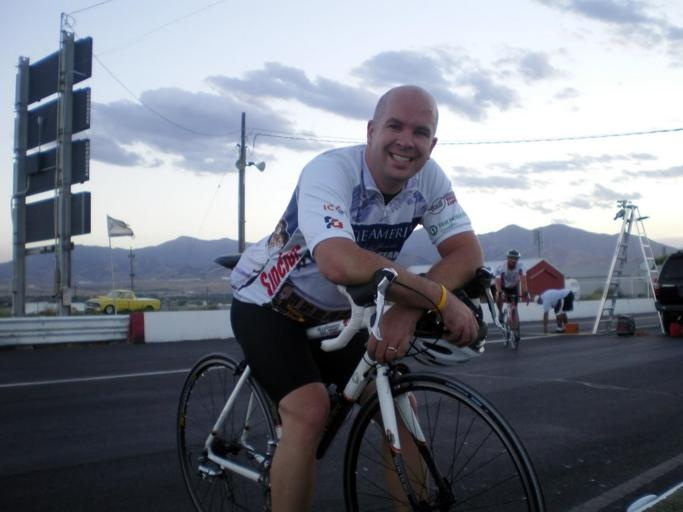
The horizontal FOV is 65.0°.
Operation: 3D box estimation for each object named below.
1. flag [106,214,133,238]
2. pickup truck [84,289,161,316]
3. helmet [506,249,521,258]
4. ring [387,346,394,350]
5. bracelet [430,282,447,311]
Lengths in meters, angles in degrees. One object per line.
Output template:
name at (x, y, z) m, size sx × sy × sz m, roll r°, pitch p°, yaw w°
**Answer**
flag at (-13.512, -1.718, 31.957) m, size 2.439 × 1.265 × 0.973 m, roll 1°, pitch -1°, yaw 44°
pickup truck at (-16.449, 3.414, 40.185) m, size 4.937 × 1.759 × 3.948 m, roll 3°, pitch -1°, yaw -27°
helmet at (3.831, -0.032, 11.911) m, size 0.186 × 0.137 × 0.275 m, roll 0°, pitch -6°, yaw 0°
ring at (0.233, 0.426, 2.480) m, size 0.034 × 0.013 × 0.008 m, roll 2°, pitch -1°, yaw 0°
bracelet at (0.458, 0.194, 2.504) m, size 0.036 × 0.108 × 0.076 m, roll 8°, pitch 5°, yaw 21°
